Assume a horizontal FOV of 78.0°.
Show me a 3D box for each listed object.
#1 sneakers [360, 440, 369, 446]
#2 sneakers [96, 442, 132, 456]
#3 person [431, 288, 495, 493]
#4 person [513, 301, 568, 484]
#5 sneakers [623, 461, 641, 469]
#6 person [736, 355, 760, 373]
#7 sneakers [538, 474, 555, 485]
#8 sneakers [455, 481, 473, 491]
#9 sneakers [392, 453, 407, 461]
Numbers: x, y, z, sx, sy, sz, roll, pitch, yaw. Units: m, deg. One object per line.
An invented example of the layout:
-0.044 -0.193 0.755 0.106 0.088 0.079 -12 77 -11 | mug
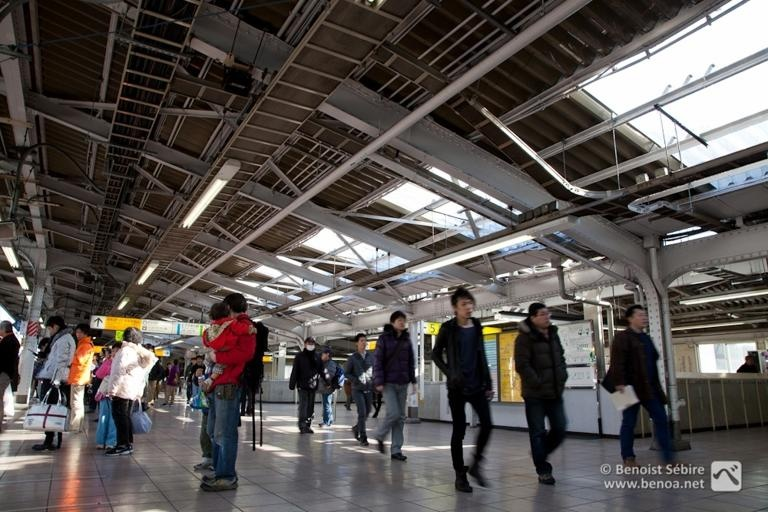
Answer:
-0.396 3.946 9.993 0.106 0.065 0.179 5 -10 -14 | sneakers
-4.855 3.442 8.457 0.665 0.178 0.197 10 -10 -25 | sneakers
1.116 1.782 6.654 0.772 2.779 0.730 -10 -22 24 | person
2.318 1.939 6.812 0.707 2.537 0.676 -6 -20 13 | person
3.953 3.282 7.488 0.205 0.144 0.135 -8 -22 32 | sneakers
13.262 3.841 17.116 0.497 0.655 3.539 -15 -20 37 | person
2.332 3.152 6.733 0.219 0.126 0.229 -4 -16 11 | sneakers
1.082 3.055 6.321 0.230 0.131 0.162 -2 -16 5 | sneakers
0.275 3.494 8.258 0.264 0.119 0.221 -1 -15 2 | sneakers
